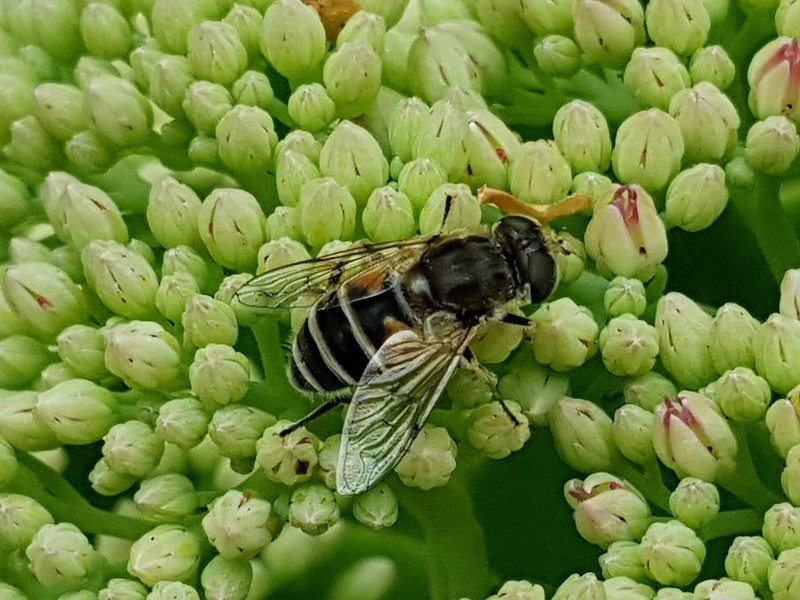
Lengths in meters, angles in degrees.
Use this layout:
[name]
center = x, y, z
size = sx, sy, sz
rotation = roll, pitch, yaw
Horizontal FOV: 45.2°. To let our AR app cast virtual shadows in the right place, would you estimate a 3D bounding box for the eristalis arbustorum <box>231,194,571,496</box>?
[eristalis arbustorum]
center = 0.074, 0.005, 2.120
size = 0.822, 0.238, 0.579
rotation = -27, 79, 8
